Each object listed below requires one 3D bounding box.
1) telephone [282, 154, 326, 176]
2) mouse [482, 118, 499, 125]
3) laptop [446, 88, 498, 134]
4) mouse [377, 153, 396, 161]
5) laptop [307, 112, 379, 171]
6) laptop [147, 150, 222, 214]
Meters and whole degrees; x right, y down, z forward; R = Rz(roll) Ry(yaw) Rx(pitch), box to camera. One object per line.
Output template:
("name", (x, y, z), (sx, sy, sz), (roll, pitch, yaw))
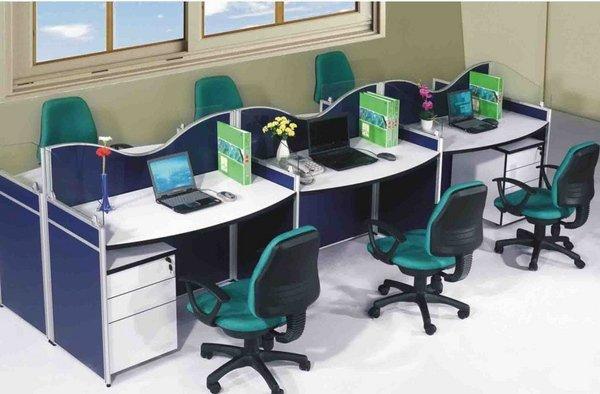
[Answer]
("telephone", (0.014, -0.298, 5.242), (0.303, 0.103, 0.222), (21, 33, 33))
("mouse", (2.130, -0.834, 6.343), (0.087, 0.036, 0.143), (-16, 28, -35))
("laptop", (1.923, -0.950, 6.291), (0.516, 0.352, 0.508), (-9, 27, -20))
("mouse", (0.840, -0.384, 5.472), (0.160, 0.034, 0.080), (16, 30, 39))
("laptop", (0.420, -0.523, 5.405), (0.576, 0.377, 0.504), (-20, 36, -40))
("laptop", (-0.983, -0.083, 4.775), (0.507, 0.360, 0.588), (-19, 36, -37))
